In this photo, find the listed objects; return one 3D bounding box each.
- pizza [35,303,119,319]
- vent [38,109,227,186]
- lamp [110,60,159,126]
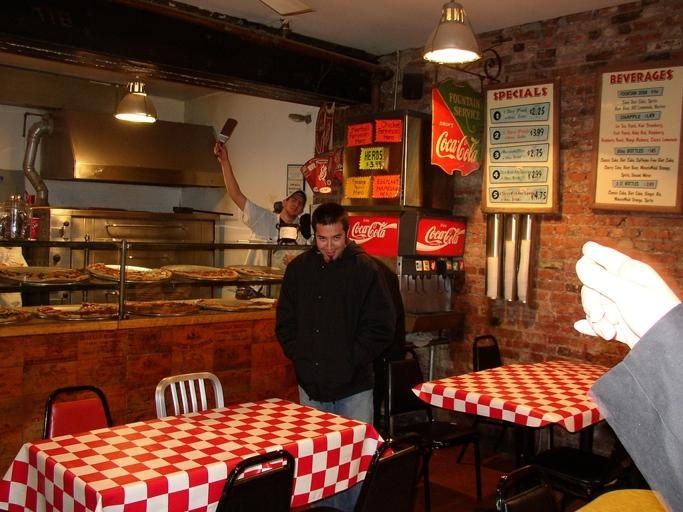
[{"bbox_3d":[-1.678,0.350,3.310,0.461,0.070,0.422,-4,7,-27],"label":"pizza"},{"bbox_3d":[-2.785,-1.500,7.230,2.042,0.797,0.974,-5,20,-42],"label":"vent"},{"bbox_3d":[-1.937,-1.479,4.863,0.303,0.371,0.356,-1,7,-3],"label":"lamp"}]
